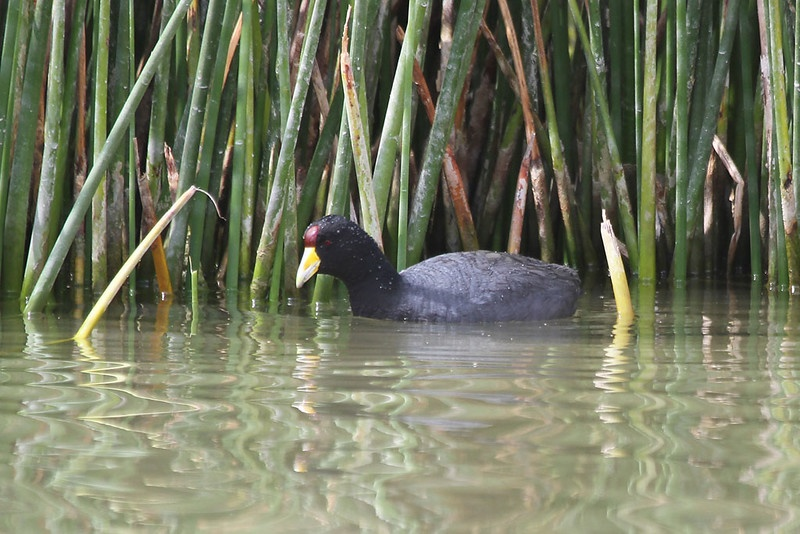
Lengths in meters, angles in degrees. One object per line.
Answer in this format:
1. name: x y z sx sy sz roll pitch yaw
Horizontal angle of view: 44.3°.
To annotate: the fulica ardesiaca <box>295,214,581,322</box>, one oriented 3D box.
1. fulica ardesiaca: 0.170 0.085 5.138 1.398 0.788 0.603 -4 14 -9
